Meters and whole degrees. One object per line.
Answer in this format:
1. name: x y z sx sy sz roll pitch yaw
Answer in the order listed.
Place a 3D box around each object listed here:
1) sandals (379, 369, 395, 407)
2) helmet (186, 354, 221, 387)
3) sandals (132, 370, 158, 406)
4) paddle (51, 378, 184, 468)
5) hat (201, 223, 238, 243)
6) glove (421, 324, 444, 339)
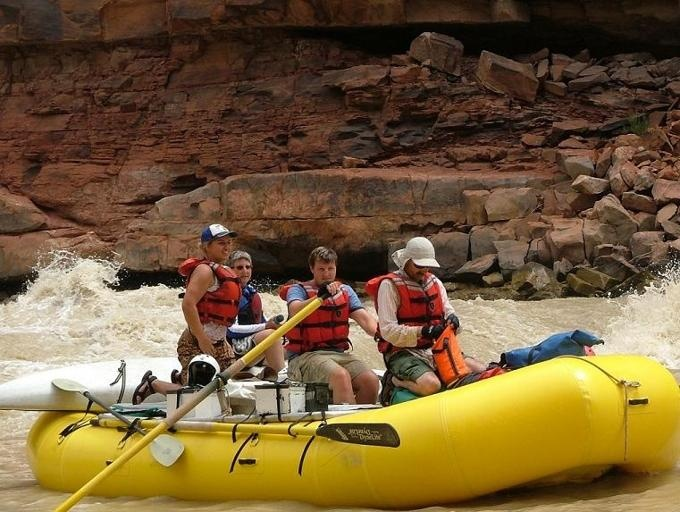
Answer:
1. sandals: 0.548 1.557 10.358 0.173 0.374 0.193 4 9 4
2. helmet: -1.563 1.305 10.101 0.357 0.340 0.388 14 16 5
3. sandals: -2.438 1.623 10.867 0.163 0.488 0.187 26 25 -41
4. paddle: -2.593 1.963 10.214 2.567 0.171 0.427 19 50 41
5. hat: -1.520 -0.284 10.820 0.407 0.166 0.229 -18 1 9
6. glove: 1.048 0.854 9.973 0.182 0.085 0.221 10 -17 -31
